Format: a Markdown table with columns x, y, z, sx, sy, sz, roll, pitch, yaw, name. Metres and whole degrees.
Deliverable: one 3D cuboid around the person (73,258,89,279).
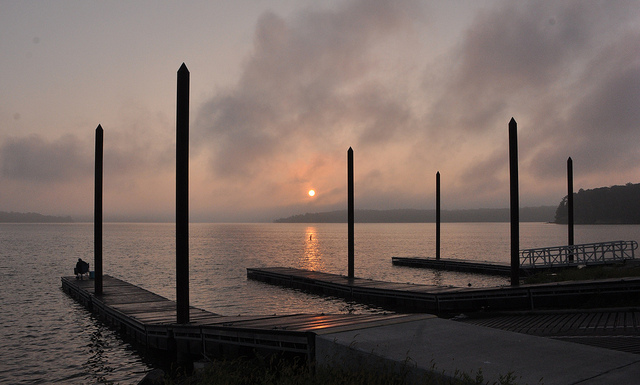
| x | y | z | sx | sy | sz | roll | pitch | yaw | name |
| --- | --- | --- | --- | --- | --- | --- | --- | --- | --- |
| -19.515 | 6.236 | 50.216 | 1.001 | 1.580 | 1.083 | 5 | -9 | -21 | person |
